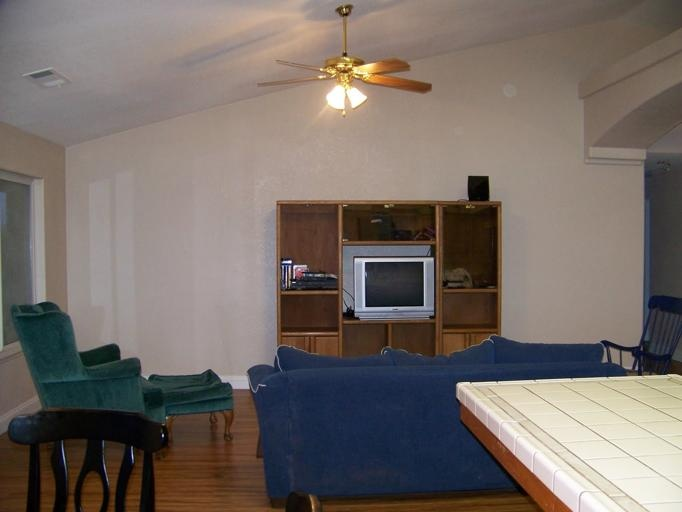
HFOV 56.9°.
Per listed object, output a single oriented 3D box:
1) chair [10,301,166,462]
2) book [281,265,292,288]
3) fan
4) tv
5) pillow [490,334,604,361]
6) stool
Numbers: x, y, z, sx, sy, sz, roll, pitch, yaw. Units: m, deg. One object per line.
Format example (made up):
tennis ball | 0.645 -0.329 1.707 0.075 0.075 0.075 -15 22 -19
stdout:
chair | -2.250 1.039 5.593 1.156 1.230 0.980 -3 4 -39
book | -0.600 0.224 6.710 0.127 0.234 0.240 1 -1 3
fan | 0.052 -1.487 5.252 1.179 0.762 1.174 -4 8 -32
tv | 0.510 0.389 7.038 0.959 0.702 0.513 0 0 -14
pillow | 1.538 0.697 4.739 0.821 0.215 0.243 -3 -1 10
stool | -1.259 1.467 5.922 0.877 0.540 0.883 0 -15 -20
